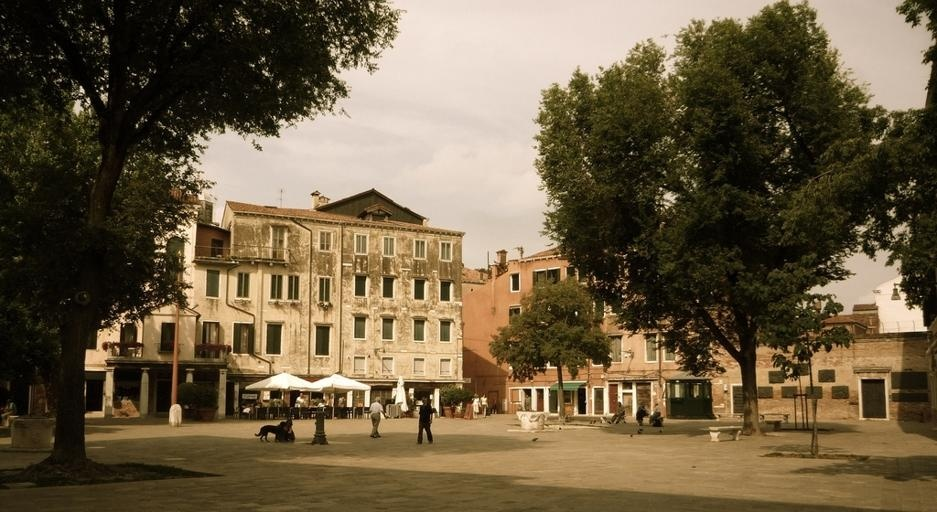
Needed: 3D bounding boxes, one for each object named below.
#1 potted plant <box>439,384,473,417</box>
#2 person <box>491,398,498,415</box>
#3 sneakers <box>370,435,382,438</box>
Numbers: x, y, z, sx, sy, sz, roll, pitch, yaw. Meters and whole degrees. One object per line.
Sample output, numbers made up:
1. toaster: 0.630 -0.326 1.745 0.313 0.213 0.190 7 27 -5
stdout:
1. potted plant: -0.879 11.101 79.725 2.175 2.263 2.534 -2 -13 3
2. person: 2.348 12.987 90.569 0.628 1.107 1.314 -1 -13 1
3. sneakers: -4.971 9.692 56.182 0.626 0.229 0.184 0 -3 -4
